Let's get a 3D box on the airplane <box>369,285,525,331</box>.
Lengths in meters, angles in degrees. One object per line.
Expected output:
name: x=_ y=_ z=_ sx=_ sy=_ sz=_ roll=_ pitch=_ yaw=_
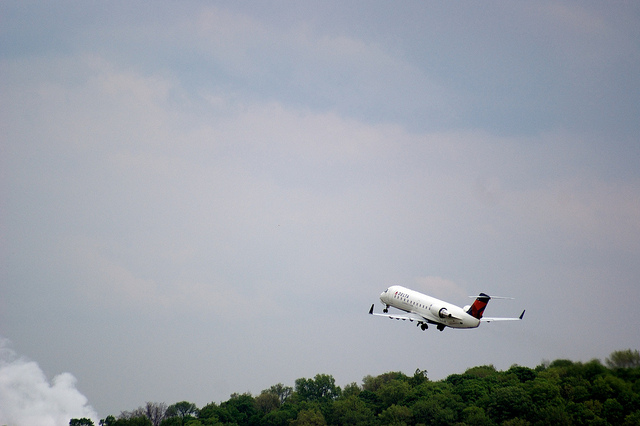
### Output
airplane: x=31.923 y=26.391 z=311.489 sx=29.168 sy=10.140 sz=26.519 roll=14 pitch=5 yaw=-37
